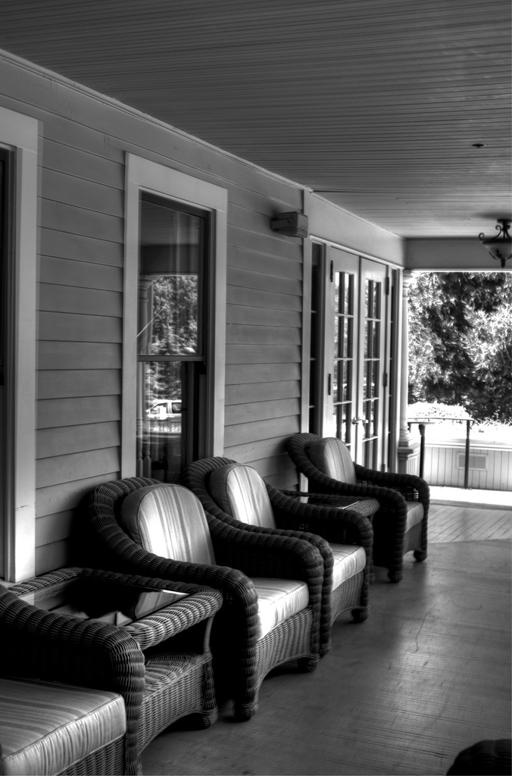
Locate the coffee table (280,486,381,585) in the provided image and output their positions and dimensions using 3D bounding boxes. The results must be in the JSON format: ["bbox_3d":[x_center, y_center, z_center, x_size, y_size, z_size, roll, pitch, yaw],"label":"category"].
[{"bbox_3d":[0.406,0.804,3.369,0.712,0.228,0.740,3,1,44],"label":"coffee table"}]

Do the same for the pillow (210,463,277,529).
[{"bbox_3d":[-0.097,0.640,3.352,0.127,0.411,0.296,-22,-3,40],"label":"pillow"}]

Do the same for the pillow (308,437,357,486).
[{"bbox_3d":[0.557,0.566,4.628,0.175,0.358,0.251,-11,13,29],"label":"pillow"}]

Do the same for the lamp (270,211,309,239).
[{"bbox_3d":[0.227,-1.128,4.437,0.191,0.157,0.284,2,2,20],"label":"lamp"}]

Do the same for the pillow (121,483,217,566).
[{"bbox_3d":[-0.365,0.633,2.675,0.101,0.437,0.314,-10,23,39],"label":"pillow"}]

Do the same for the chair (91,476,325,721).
[{"bbox_3d":[-0.174,0.719,2.677,0.919,0.906,0.806,-1,-2,32],"label":"chair"}]

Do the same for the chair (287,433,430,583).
[{"bbox_3d":[0.831,0.856,4.815,1.119,1.107,0.922,-1,0,27],"label":"chair"}]
